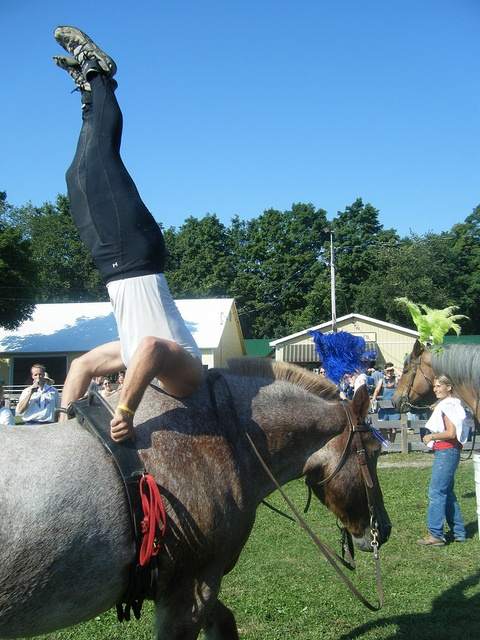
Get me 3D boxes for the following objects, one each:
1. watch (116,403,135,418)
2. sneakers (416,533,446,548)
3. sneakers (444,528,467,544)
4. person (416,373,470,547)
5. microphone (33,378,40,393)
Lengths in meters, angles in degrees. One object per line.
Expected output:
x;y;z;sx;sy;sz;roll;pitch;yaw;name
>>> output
-0.496;0.392;2.483;0.073;0.059;0.046;0;-3;-14;watch
2.041;2.350;6.111;0.271;0.116;0.119;4;-15;4;sneakers
2.368;2.399;6.367;0.280;0.188;0.095;-7;-7;37;sneakers
2.222;1.657;6.332;0.637;1.552;0.377;3;-5;-44;person
-3.064;0.977;8.618;0.102;0.201;0.153;5;-4;-7;microphone
